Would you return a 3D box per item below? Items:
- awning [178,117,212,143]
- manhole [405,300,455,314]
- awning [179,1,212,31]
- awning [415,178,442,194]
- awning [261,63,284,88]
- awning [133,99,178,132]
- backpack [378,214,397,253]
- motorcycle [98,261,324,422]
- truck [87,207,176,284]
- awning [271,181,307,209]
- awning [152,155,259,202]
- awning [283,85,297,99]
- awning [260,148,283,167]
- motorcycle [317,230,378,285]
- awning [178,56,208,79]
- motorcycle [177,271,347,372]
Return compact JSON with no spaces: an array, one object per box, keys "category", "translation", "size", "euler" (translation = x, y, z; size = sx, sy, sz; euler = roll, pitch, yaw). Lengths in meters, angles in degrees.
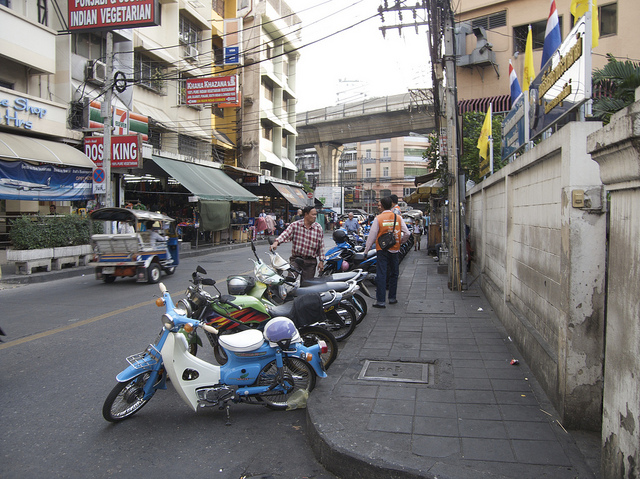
[{"category":"awning","translation":[-7.141,-6.086,30.114],"size":[0.779,0.649,3.564],"euler":[9,-1,17]},{"category":"manhole","translation":[2.209,1.330,10.942],"size":[0.893,0.134,1.511],"euler":[-1,9,14]},{"category":"awning","translation":[-7.010,-12.283,30.383],"size":[0.473,0.753,3.699],"euler":[-1,9,11]},{"category":"awning","translation":[4.216,-2.002,21.325],"size":[0.921,0.383,0.956],"euler":[-5,-2,-21]},{"category":"awning","translation":[-3.775,-12.551,42.165],"size":[0.559,1.372,4.429],"euler":[-1,9,11]},{"category":"awning","translation":[-8.076,-6.015,26.989],"size":[0.707,1.392,3.546],"euler":[-1,9,8]},{"category":"backpack","translation":[1.327,0.016,10.804],"size":[0.143,0.401,0.260],"euler":[19,-15,-30]},{"category":"motorcycle","translation":[-1.251,1.288,7.034],"size":[2.741,1.939,1.342],"euler":[1,20,-14]},{"category":"truck","translation":[-5.074,0.158,15.705],"size":[1.706,2.115,3.146],"euler":[-1,3,12]},{"category":"awning","translation":[-2.311,-3.290,40.600],"size":[2.006,2.155,4.508],"euler":[-2,8,2]},{"category":"awning","translation":[-5.559,-2.903,27.723],"size":[2.582,2.051,7.526],"euler":[3,4,13]},{"category":"awning","translation":[-2.613,-12.536,46.830],"size":[0.571,0.969,2.778],"euler":[-1,9,8]},{"category":"awning","translation":[-3.757,-6.225,42.078],"size":[1.133,1.450,4.903],"euler":[-2,8,1]},{"category":"motorcycle","translation":[0.838,0.469,13.124],"size":[1.919,1.413,0.824],"euler":[1,8,-19]},{"category":"awning","translation":[-7.109,-9.390,30.418],"size":[0.943,1.050,2.995],"euler":[-3,8,-1]},{"category":"motorcycle","translation":[-0.687,1.231,7.350],"size":[2.045,1.444,1.211],"euler":[6,11,1]}]
